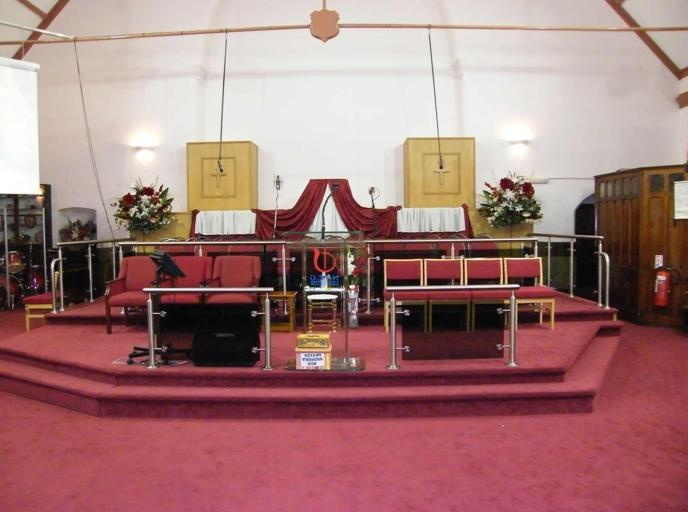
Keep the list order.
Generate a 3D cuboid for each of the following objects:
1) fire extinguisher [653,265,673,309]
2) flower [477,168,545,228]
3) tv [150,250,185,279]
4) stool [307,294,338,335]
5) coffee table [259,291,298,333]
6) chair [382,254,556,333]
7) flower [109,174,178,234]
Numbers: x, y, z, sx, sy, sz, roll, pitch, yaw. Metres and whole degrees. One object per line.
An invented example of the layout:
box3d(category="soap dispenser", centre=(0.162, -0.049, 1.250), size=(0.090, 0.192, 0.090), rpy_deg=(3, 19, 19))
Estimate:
box3d(category="fire extinguisher", centre=(5.289, 0.512, 10.391), size=(0.249, 0.675, 0.164), rpy_deg=(0, 3, 20))
box3d(category="flower", centre=(3.106, -1.020, 11.921), size=(1.081, 0.927, 1.241), rpy_deg=(0, 3, 9))
box3d(category="tv", centre=(-2.225, 0.051, 7.928), size=(0.301, 0.468, 0.111), rpy_deg=(1, 45, 12))
box3d(category="stool", centre=(-0.281, 0.747, 8.403), size=(0.461, 0.586, 0.503), rpy_deg=(0, 4, 2))
box3d(category="coffee table", centre=(-0.977, 0.812, 9.276), size=(0.500, 0.548, 0.543), rpy_deg=(0, 5, -2))
box3d(category="chair", centre=(1.832, 0.555, 9.048), size=(2.687, 1.042, 1.677), rpy_deg=(-2, 3, -15))
box3d(category="flower", centre=(-3.894, -0.921, 12.030), size=(1.130, 1.382, 1.144), rpy_deg=(0, -4, -6))
